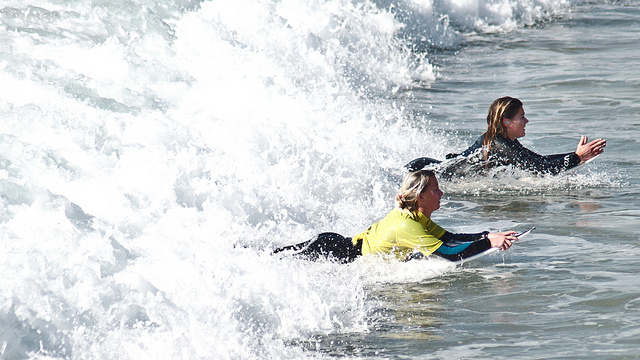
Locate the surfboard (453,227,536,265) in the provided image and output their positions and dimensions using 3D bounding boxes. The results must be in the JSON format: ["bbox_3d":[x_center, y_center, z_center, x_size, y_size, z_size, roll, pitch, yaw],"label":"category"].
[{"bbox_3d":[2.894,1.117,15.710,1.482,0.102,0.184,-21,0,23],"label":"surfboard"}]
